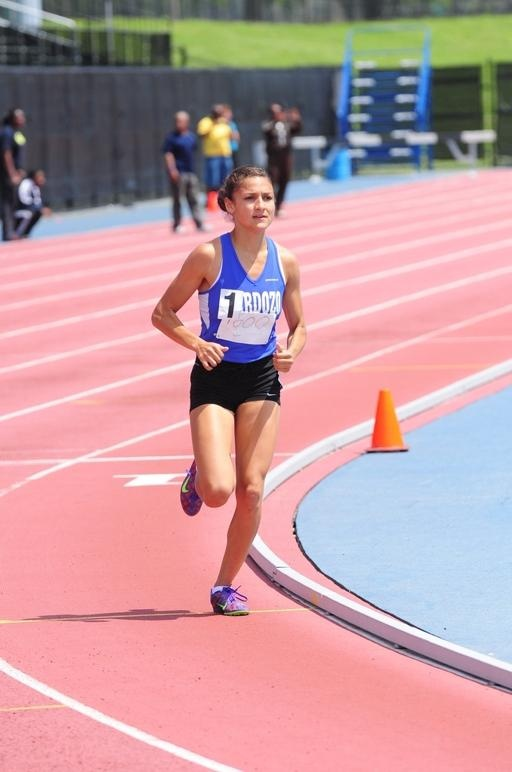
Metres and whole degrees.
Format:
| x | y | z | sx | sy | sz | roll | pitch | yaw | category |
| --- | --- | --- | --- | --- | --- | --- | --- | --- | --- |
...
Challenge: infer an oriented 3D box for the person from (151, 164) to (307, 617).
| x | y | z | sx | sy | sz | roll | pitch | yaw | category |
| --- | --- | --- | --- | --- | --- | --- | --- | --- | --- |
| -0.112 | 0.039 | 3.595 | 0.671 | 1.959 | 0.583 | -4 | 6 | 2 | person |

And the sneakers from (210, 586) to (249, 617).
| x | y | z | sx | sy | sz | roll | pitch | yaw | category |
| --- | --- | --- | --- | --- | --- | --- | --- | --- | --- |
| -0.102 | 0.957 | 3.691 | 0.089 | 0.094 | 0.228 | -2 | 0 | -36 | sneakers |

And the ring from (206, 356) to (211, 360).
| x | y | z | sx | sy | sz | roll | pitch | yaw | category |
| --- | --- | --- | --- | --- | --- | --- | --- | --- | --- |
| -0.194 | -0.117 | 3.321 | 0.017 | 0.015 | 0.004 | -1 | 1 | -30 | ring |
